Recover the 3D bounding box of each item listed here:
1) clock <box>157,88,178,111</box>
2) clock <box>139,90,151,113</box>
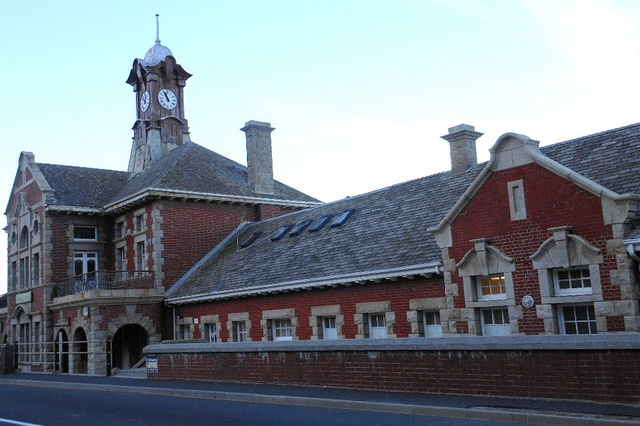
[{"bbox_3d":[-9.870,-7.207,44.919,1.710,1.510,0.106,3,-13,-29],"label":"clock"},{"bbox_3d":[-11.244,-7.124,45.079,0.100,1.412,1.533,8,-15,-34],"label":"clock"}]
